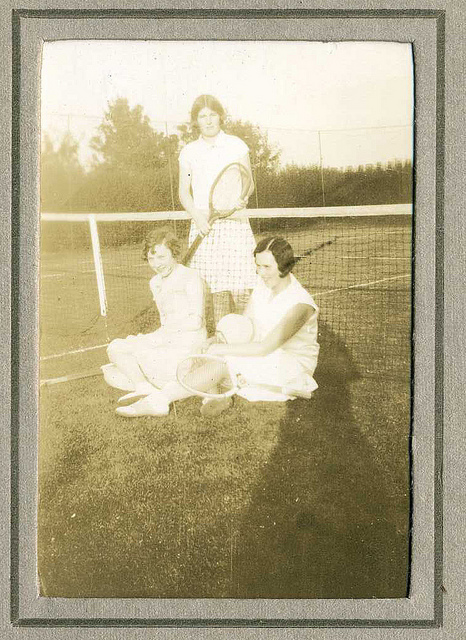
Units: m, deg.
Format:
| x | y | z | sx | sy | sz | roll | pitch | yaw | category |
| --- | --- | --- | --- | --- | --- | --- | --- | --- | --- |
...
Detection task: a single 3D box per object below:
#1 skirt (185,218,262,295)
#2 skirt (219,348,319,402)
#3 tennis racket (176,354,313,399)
| x | y | z | sx | sy | sz | roll | pitch | yaw | category |
| --- | --- | --- | --- | --- | --- | --- | --- | --- | --- |
| -0.019 | -0.184 | 2.420 | 0.199 | 0.216 | 0.016 | -1 | 9 | 3 | skirt |
| 0.106 | 0.160 | 2.356 | 0.200 | 0.165 | 0.063 | 6 | -3 | 6 | skirt |
| 0.020 | 0.151 | 2.436 | 0.346 | 0.155 | 0.015 | 6 | 33 | 1 | tennis racket |
